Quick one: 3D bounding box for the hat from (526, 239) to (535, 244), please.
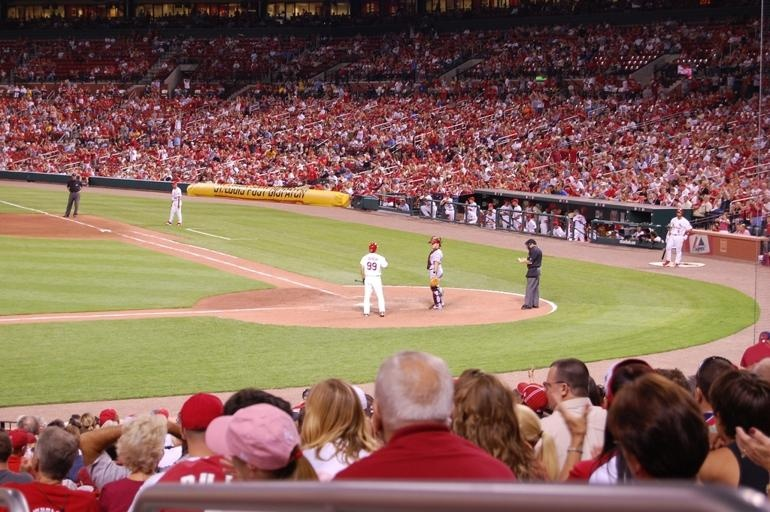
[{"bbox_3d":[4.320,-0.417,24.303,0.189,0.123,0.227,7,-10,-40],"label":"hat"}]

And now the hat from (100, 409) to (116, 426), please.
[{"bbox_3d":[-4.162,2.285,12.508,0.372,0.155,0.470,-1,-2,-15],"label":"hat"}]

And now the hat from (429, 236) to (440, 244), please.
[{"bbox_3d":[1.553,-0.442,24.443,0.328,0.147,0.358,-3,-2,7],"label":"hat"}]

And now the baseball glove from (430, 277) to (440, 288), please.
[{"bbox_3d":[1.548,0.722,24.530,0.229,0.271,0.293,-2,-10,5],"label":"baseball glove"}]

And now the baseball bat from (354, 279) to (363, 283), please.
[{"bbox_3d":[-0.786,0.736,26.549,0.284,0.034,0.033,-4,30,-7],"label":"baseball bat"}]
